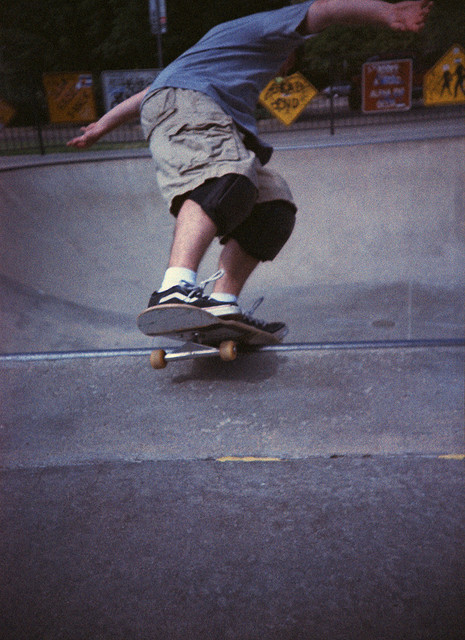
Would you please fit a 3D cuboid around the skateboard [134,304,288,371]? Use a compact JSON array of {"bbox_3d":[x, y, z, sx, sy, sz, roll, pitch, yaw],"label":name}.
[{"bbox_3d":[-0.088,0.074,2.159,0.173,0.095,0.479,-2,-9,28],"label":"skateboard"}]
